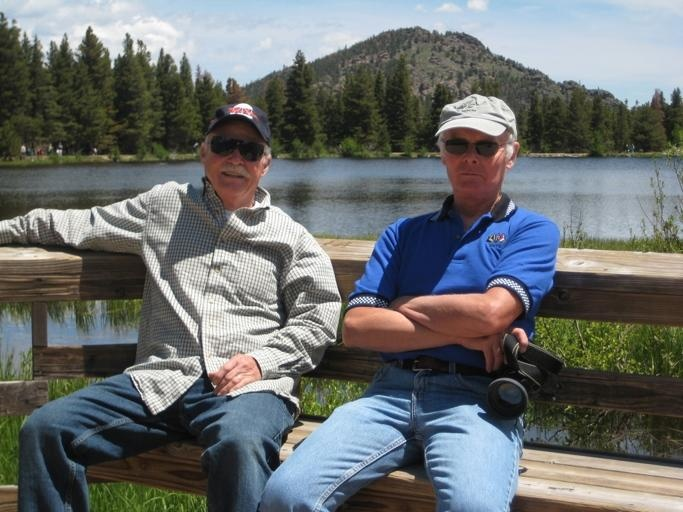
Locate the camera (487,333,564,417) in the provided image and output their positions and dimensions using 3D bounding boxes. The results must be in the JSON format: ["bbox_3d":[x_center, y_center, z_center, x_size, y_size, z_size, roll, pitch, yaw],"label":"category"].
[{"bbox_3d":[0.829,0.545,3.471,0.322,0.392,0.229,0,2,19],"label":"camera"}]
